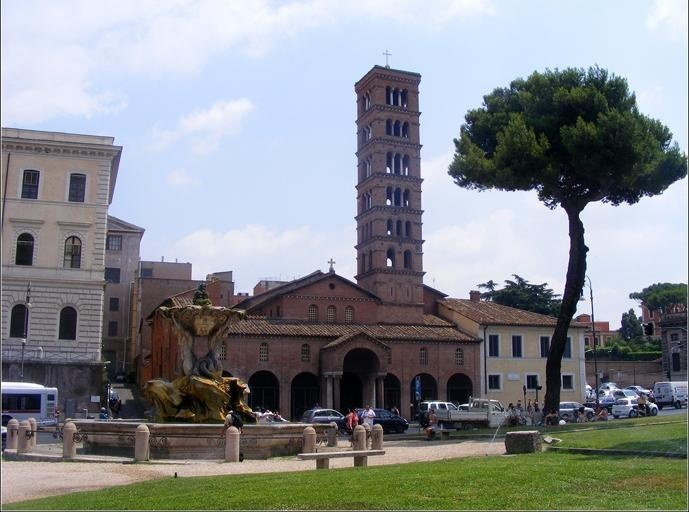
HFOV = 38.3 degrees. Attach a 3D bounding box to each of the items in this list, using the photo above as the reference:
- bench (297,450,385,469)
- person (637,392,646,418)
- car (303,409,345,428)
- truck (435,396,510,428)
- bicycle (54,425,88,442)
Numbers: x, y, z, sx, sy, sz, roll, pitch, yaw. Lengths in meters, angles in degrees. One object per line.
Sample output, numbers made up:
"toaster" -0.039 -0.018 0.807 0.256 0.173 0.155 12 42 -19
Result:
"bench" -0.143 8.017 39.456 2.459 0.661 4.454 -3 -11 12
"person" 18.329 9.114 61.009 0.446 1.355 1.497 -3 -11 13
"car" -1.302 9.977 61.424 2.557 1.388 4.338 -1 -11 -1
"truck" 7.870 9.991 62.452 3.228 1.608 2.139 -1 -4 -14
"bicycle" -12.232 7.871 44.208 1.399 0.775 7.096 2 -11 -15
